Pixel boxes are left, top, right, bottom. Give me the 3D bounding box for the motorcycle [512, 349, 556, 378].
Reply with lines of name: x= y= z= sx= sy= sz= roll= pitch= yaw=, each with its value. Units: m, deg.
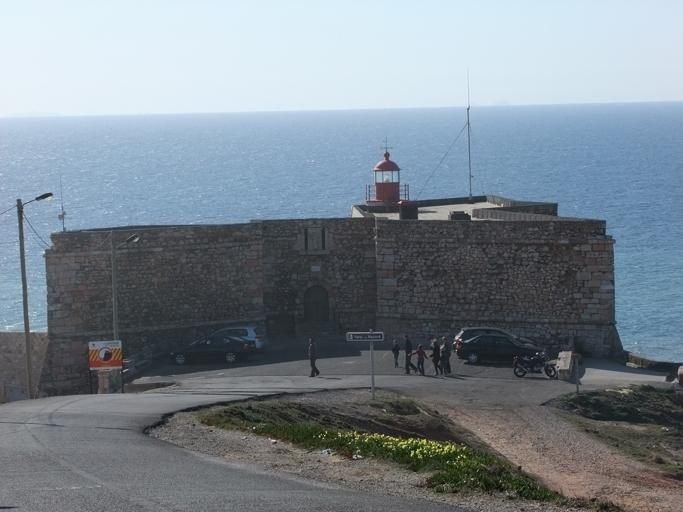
motorcycle: x=9.204 y=5.248 z=62.532 sx=2.164 sy=1.140 sz=0.978 roll=0 pitch=1 yaw=-6
